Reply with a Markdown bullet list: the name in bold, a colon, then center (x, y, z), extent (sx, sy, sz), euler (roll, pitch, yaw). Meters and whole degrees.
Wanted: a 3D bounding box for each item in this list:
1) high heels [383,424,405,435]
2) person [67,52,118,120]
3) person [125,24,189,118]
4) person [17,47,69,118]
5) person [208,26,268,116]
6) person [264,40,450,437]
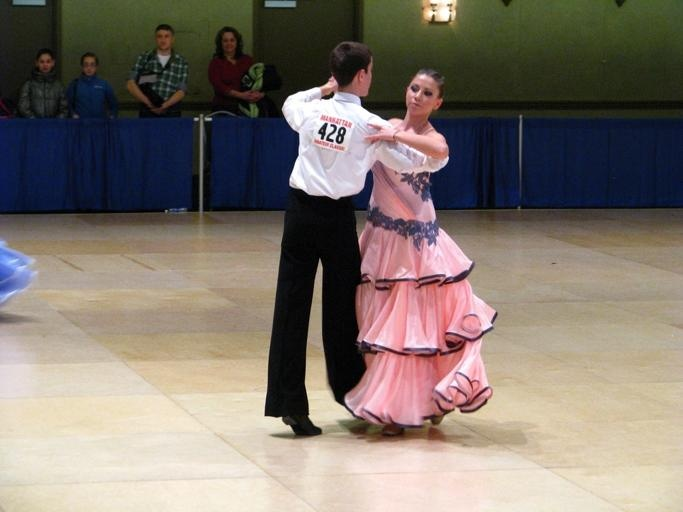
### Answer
- **high heels**: center (0.302, 1.040, 5.316), extent (0.067, 0.047, 0.124), euler (-2, -13, 25)
- **person**: center (-4.250, -2.826, 14.834), extent (0.790, 1.025, 0.294), euler (-3, 11, -18)
- **person**: center (-3.118, -3.043, 14.739), extent (0.941, 1.475, 0.455), euler (-2, 11, -15)
- **person**: center (-4.937, -2.765, 14.333), extent (0.802, 1.065, 0.311), euler (0, 11, -6)
- **person**: center (-1.814, -3.088, 15.012), extent (0.987, 1.462, 0.422), euler (6, 12, 28)
- **person**: center (-0.075, 0.013, 5.250), extent (0.780, 2.097, 0.426), euler (0, 11, -5)
